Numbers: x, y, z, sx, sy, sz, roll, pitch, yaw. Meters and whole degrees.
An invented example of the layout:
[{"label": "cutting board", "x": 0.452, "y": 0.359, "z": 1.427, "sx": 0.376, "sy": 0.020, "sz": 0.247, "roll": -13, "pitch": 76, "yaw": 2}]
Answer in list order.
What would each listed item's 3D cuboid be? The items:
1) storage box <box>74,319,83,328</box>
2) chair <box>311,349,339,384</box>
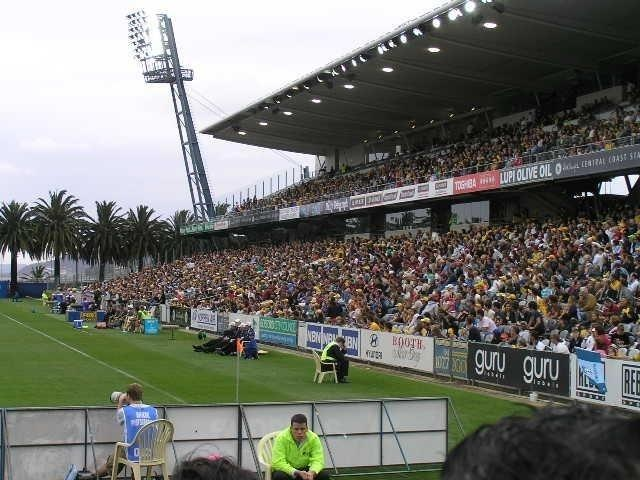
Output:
[{"label": "storage box", "x": -14.963, "y": 5.202, "z": 61.445, "sx": 0.520, "sy": 0.510, "sz": 0.516, "roll": 1, "pitch": -6, "yaw": -20}, {"label": "chair", "x": 0.499, "y": 5.185, "z": 39.628, "sx": 1.043, "sy": 1.219, "sz": 0.991, "roll": 17, "pitch": -8, "yaw": -42}]
